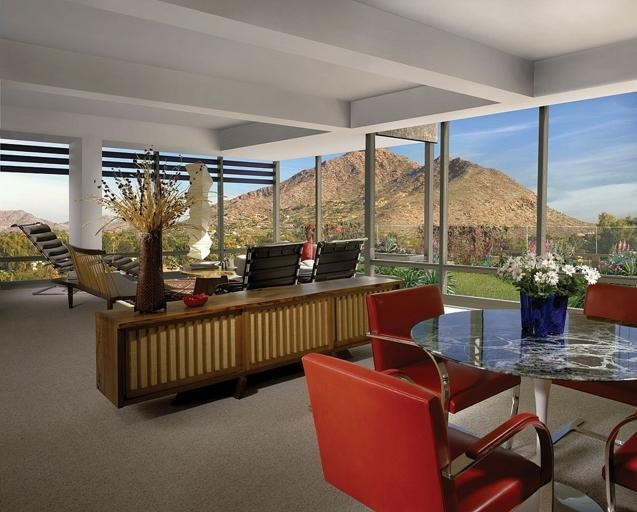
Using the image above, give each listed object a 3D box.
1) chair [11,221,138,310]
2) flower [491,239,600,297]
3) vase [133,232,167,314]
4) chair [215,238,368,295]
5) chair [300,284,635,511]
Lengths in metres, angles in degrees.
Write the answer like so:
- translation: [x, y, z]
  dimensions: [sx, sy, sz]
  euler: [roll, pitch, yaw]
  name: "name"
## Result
- translation: [-3.944, 0.090, 7.465]
  dimensions: [3.383, 1.293, 1.420]
  euler: [8, 11, 33]
  name: "chair"
- translation: [1.285, 0.076, 2.427]
  dimensions: [0.376, 0.213, 0.422]
  euler: [4, -4, -42]
  name: "flower"
- translation: [-1.316, 0.118, 3.266]
  dimensions: [0.190, 0.628, 0.144]
  euler: [-3, 7, -24]
  name: "vase"
- translation: [-0.443, 0.148, 5.577]
  dimensions: [1.928, 0.706, 1.125]
  euler: [-6, 8, -44]
  name: "chair"
- translation: [0.636, 0.630, 2.195]
  dimensions: [1.704, 0.831, 1.113]
  euler: [-4, 4, -39]
  name: "chair"
